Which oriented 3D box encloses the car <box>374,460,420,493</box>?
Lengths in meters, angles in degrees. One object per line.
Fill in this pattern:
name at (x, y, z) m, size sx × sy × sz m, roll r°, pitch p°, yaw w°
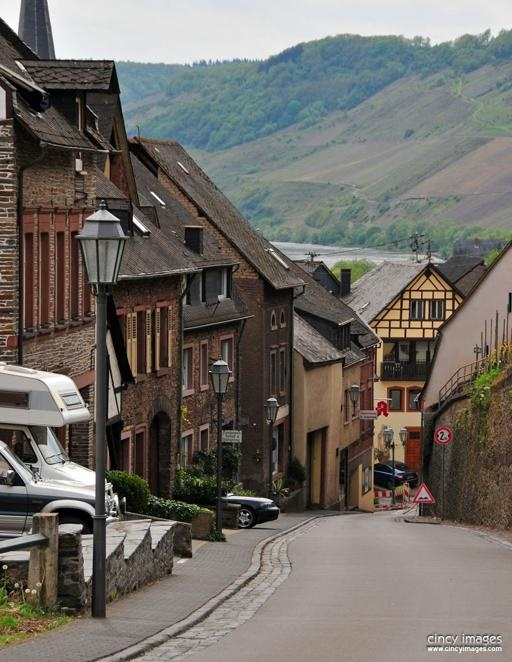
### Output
car at (6.491, 6.717, 58.615) m, size 1.111 × 0.981 × 2.834 m, roll 1°, pitch 0°, yaw -24°
